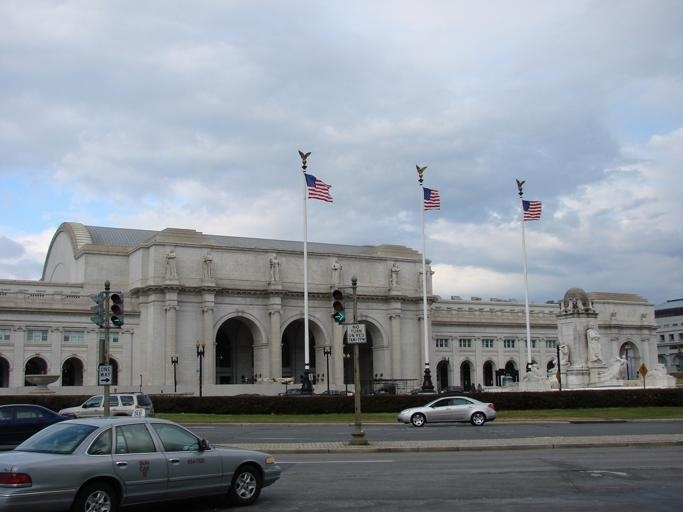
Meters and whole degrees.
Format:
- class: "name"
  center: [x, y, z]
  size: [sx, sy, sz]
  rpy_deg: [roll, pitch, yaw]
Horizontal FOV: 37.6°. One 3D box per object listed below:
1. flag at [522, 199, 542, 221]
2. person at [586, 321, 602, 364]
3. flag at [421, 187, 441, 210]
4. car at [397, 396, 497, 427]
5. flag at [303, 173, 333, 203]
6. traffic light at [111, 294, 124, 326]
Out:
- class: "flag"
  center: [15.446, -3.754, 82.134]
  size: [1.440, 1.655, 1.297]
  rpy_deg: [-5, -11, 13]
- class: "person"
  center: [18.270, 6.295, 72.576]
  size: [1.122, 2.820, 0.733]
  rpy_deg: [4, -13, -29]
- class: "flag"
  center: [6.764, -4.410, 76.626]
  size: [1.193, 1.708, 1.367]
  rpy_deg: [-3, -11, 3]
- class: "car"
  center: [5.351, 7.999, 51.381]
  size: [4.617, 1.255, 1.779]
  rpy_deg: [1, -11, 1]
- class: "flag"
  center: [-1.765, -5.164, 75.580]
  size: [1.705, 2.700, 2.978]
  rpy_deg: [-2, -11, -4]
- class: "traffic light"
  center: [-8.333, 1.921, 37.081]
  size: [0.393, 1.141, 1.534]
  rpy_deg: [0, -11, -16]
